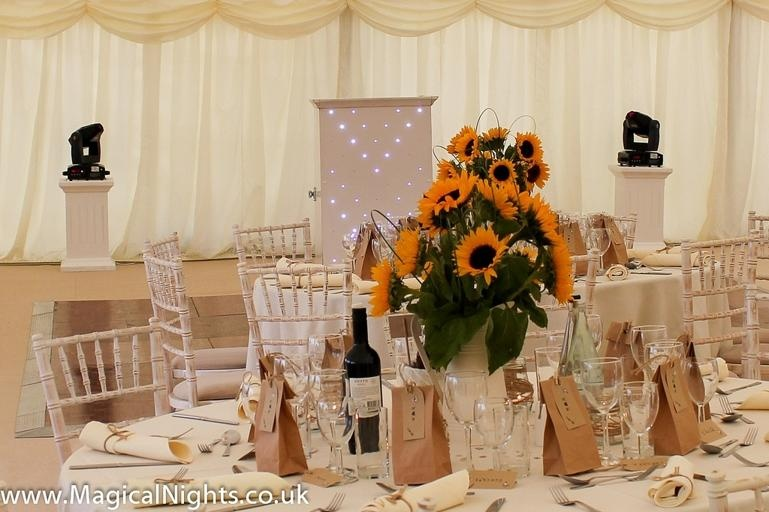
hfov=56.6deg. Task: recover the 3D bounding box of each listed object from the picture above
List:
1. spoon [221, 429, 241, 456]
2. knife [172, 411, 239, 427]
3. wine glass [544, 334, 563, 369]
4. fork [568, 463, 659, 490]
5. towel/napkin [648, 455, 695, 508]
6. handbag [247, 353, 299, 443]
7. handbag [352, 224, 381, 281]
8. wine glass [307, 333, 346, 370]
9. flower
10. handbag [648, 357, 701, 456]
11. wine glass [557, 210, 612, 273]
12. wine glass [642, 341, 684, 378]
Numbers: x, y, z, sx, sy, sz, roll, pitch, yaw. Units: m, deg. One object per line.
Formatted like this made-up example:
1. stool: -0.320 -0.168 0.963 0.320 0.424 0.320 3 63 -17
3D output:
1. spoon: -0.451 0.548 2.093 0.029 0.023 0.073 6 36 2
2. knife: -0.564 0.519 2.268 0.189 0.022 0.024 6 5 8
3. wine glass: 0.529 0.275 2.159 0.059 0.078 0.068 0 -3 -4
4. fork: 0.591 0.572 1.847 0.136 0.022 0.019 -12 44 -13
5. towel/napkin: 0.718 0.562 1.784 0.109 0.102 0.129 -6 -7 22
6. handbag: -0.307 0.406 2.004 0.112 0.226 0.210 1 10 -2
7. handbag: -0.085 -0.012 3.575 0.098 0.254 0.269 1 3 -7
8. wine glass: -0.177 0.290 2.194 0.097 0.124 0.098 -2 -5 43
9. flower: 0.285 -0.049 2.328 0.646 1.041 0.708 -5 10 12
10. handbag: 0.793 0.418 1.948 0.091 0.319 0.197 1 11 39
11. wine glass: 1.053 -0.068 3.706 0.121 0.352 0.354 -3 0 14
12. wine glass: 0.811 0.294 2.098 0.113 0.135 0.104 -1 1 37
